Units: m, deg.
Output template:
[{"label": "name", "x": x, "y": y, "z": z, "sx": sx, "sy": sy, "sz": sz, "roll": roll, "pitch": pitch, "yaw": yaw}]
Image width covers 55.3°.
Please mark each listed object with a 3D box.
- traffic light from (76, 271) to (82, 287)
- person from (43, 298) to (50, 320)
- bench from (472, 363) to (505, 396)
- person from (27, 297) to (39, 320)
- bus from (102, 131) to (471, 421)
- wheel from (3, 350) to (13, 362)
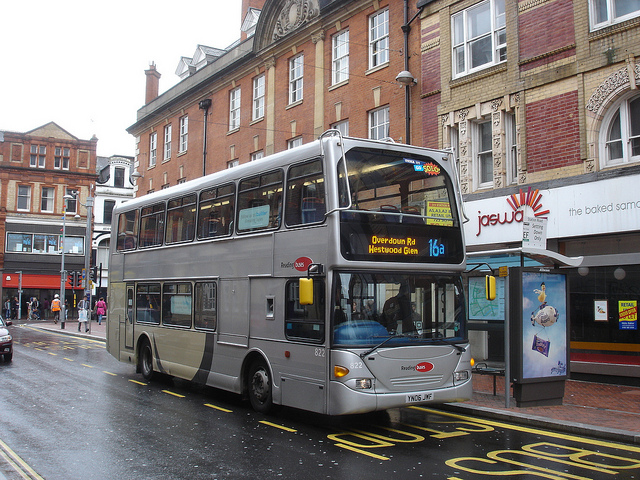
[{"label": "traffic light", "x": -15.604, "y": 2.684, "z": 40.215, "sx": 0.342, "sy": 0.778, "sz": 2.308, "roll": 1, "pitch": -2, "yaw": -22}, {"label": "person", "x": -24.698, "y": 6.300, "z": 55.971, "sx": 0.496, "sy": 1.812, "sz": 0.638, "roll": 0, "pitch": -1, "yaw": -15}, {"label": "bench", "x": 3.834, "y": 3.419, "z": 14.228, "sx": 0.808, "sy": 0.721, "sz": 0.713, "roll": 0, "pitch": -2, "yaw": 18}, {"label": "person", "x": -24.786, "y": 6.120, "z": 53.653, "sx": 0.599, "sy": 1.869, "sz": 0.966, "roll": 0, "pitch": -1, "yaw": -4}, {"label": "bus", "x": -1.808, "y": 1.173, "z": 16.081, "sx": 3.410, "sy": 5.496, "sz": 11.590, "roll": 3, "pitch": -6, "yaw": -37}, {"label": "wheel", "x": -10.178, "y": 3.852, "z": 20.255, "sx": 0.378, "sy": 0.435, "sz": 0.133, "roll": -3, "pitch": -11, "yaw": 32}]
